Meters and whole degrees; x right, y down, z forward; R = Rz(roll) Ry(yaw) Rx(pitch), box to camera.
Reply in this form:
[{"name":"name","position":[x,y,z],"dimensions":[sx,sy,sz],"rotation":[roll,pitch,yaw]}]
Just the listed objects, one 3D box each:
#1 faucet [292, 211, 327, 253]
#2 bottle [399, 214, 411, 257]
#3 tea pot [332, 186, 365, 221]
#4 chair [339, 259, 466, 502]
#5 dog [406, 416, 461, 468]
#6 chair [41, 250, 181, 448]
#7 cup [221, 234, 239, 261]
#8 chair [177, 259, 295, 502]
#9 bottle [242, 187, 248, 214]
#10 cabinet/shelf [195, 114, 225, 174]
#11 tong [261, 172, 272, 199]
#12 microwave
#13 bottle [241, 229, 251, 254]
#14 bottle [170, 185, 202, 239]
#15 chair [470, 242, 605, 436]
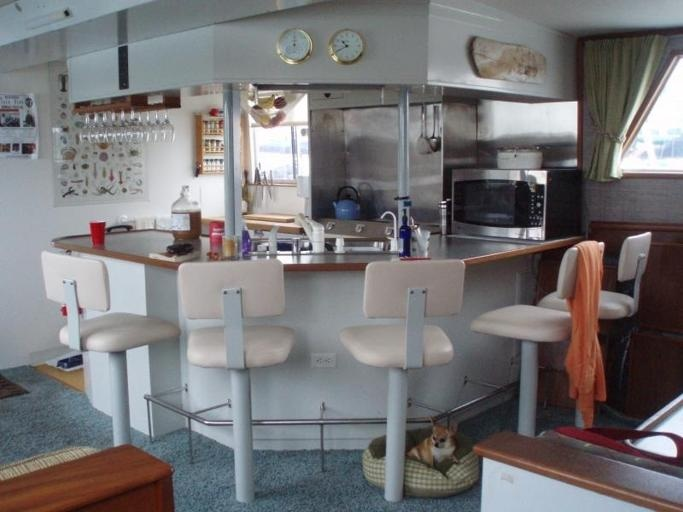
[{"name":"faucet","position":[-0.221,-0.167,3.890],"dimensions":[0.086,0.234,0.373],"rotation":[-11,17,-30]},{"name":"bottle","position":[0.409,-0.144,3.599],"dimensions":[0.078,0.254,0.203],"rotation":[-1,14,7]},{"name":"tea pot","position":[0.066,-0.507,5.551],"dimensions":[0.292,0.343,0.235],"rotation":[-4,1,13]},{"name":"chair","position":[0.330,0.633,3.052],"dimensions":[0.625,1.358,0.380],"rotation":[-5,14,-9]},{"name":"dog","position":[0.511,1.056,3.269],"dimensions":[0.196,0.224,0.307],"rotation":[-7,6,-21]},{"name":"chair","position":[-1.322,0.541,3.336],"dimensions":[0.498,1.206,0.517],"rotation":[9,18,39]},{"name":"cup","position":[-0.684,-0.055,3.696],"dimensions":[0.097,0.165,0.168],"rotation":[6,8,36]},{"name":"chair","position":[-0.561,0.646,3.161],"dimensions":[0.579,1.374,0.555],"rotation":[-1,13,-7]},{"name":"bottle","position":[-1.239,-0.732,7.244],"dimensions":[0.064,0.325,0.188],"rotation":[-4,14,-4]},{"name":"cabinet/shelf","position":[-1.470,-1.261,6.499],"dimensions":[0.378,0.680,0.192],"rotation":[3,5,13]},{"name":"tong","position":[-0.945,-0.897,7.124],"dimensions":[0.105,0.367,0.131],"rotation":[-4,-8,3]},{"name":"microwave","position":[1.399,-0.436,4.568],"dimensions":[0.655,0.571,0.897],"rotation":[-4,8,-44]},{"name":"bottle","position":[-0.644,-0.090,3.751],"dimensions":[0.068,0.159,0.110],"rotation":[-6,14,-14]},{"name":"bottle","position":[-1.194,-0.333,4.297],"dimensions":[0.224,0.419,0.260],"rotation":[-7,14,-17]},{"name":"chair","position":[1.212,0.548,3.448],"dimensions":[0.741,1.297,0.589],"rotation":[8,17,44]}]
